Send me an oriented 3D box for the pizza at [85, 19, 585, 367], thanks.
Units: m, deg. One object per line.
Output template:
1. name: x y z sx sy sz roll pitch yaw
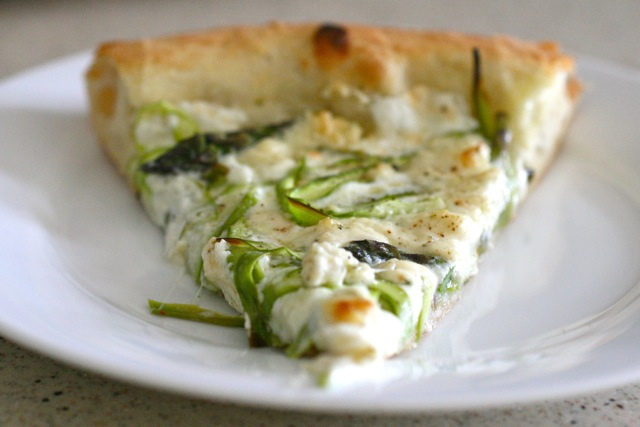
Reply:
1. pizza: 0.055 -0.150 1.555 0.998 0.289 0.948 -2 36 -8
